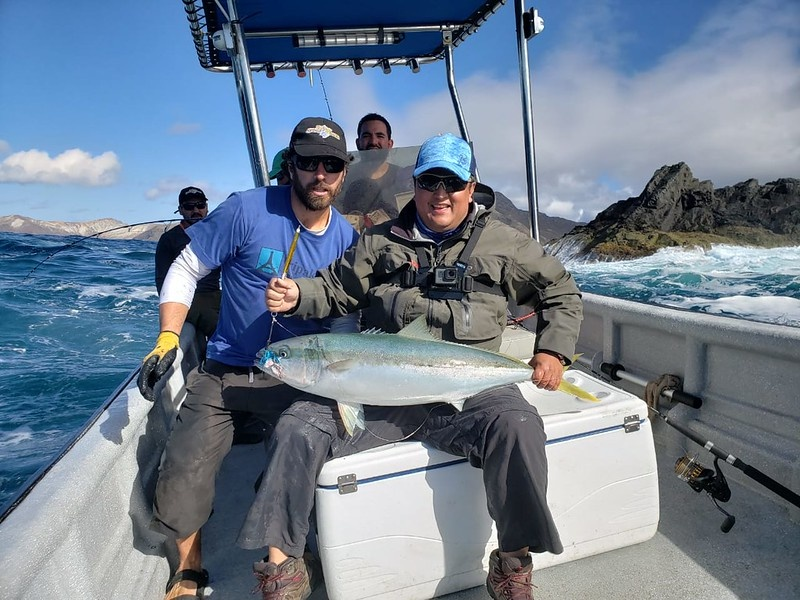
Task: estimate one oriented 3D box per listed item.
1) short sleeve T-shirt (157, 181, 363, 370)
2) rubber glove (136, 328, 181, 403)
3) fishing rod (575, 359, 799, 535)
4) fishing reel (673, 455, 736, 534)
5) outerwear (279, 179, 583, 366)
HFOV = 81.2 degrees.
[{"bbox_3d":[-0.781,-0.101,3.169,1.486,1.184,0.859,11,30,-27],"label":"short sleeve T-shirt"},{"bbox_3d":[-1.310,0.339,2.556,0.164,0.141,0.467,3,29,5],"label":"rubber glove"},{"bbox_3d":[1.775,0.846,3.018,0.286,0.368,1.340,13,13,-31],"label":"fishing rod"},{"bbox_3d":[1.823,1.094,2.702,0.398,0.268,0.112,43,18,7],"label":"fishing reel"},{"bbox_3d":[0.437,-0.117,3.136,1.750,0.895,0.987,1,1,12],"label":"outerwear"}]
